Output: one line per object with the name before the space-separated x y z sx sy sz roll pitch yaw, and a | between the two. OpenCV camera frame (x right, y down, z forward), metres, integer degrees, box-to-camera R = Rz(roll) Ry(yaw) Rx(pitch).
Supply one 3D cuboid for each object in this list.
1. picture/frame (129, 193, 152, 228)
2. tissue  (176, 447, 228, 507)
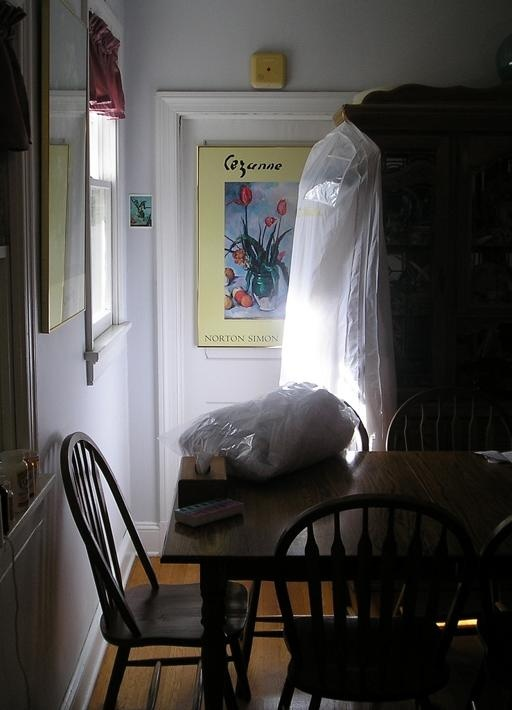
picture/frame | -0.547 -0.697 2.727 0.107 0.205 0.017 0 1 -3
tissue  | -0.124 0.284 1.376 0.115 0.091 0.209 2 9 -4
